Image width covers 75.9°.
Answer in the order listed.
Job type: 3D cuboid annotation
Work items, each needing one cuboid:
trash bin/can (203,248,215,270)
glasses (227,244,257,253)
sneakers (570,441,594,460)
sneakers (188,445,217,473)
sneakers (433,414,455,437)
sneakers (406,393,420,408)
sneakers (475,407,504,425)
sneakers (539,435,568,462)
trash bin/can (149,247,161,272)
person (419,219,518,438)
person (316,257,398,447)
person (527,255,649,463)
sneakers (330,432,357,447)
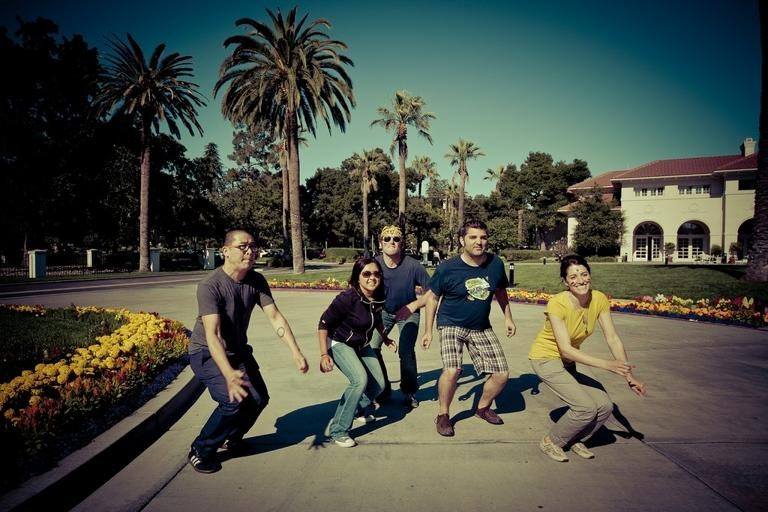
[{"bbox_3d":[-15.300,0.369,42.981,0.639,1.596,1.665,1,-4,-19],"label":"trash bin/can"},{"bbox_3d":[-1.667,-0.083,5.764,0.246,0.088,0.065,-3,7,-15],"label":"glasses"},{"bbox_3d":[2.413,2.370,5.991,0.101,0.132,0.333,-10,-5,-12],"label":"sneakers"},{"bbox_3d":[-2.142,2.383,5.785,0.409,0.174,0.182,-2,-3,43],"label":"sneakers"},{"bbox_3d":[0.802,2.212,6.510,0.251,0.223,0.325,0,7,4],"label":"sneakers"},{"bbox_3d":[0.435,2.133,7.266,0.232,0.175,0.150,-4,7,-24],"label":"sneakers"},{"bbox_3d":[1.454,2.195,6.768,0.165,0.132,0.337,-1,-1,-33],"label":"sneakers"},{"bbox_3d":[2.010,2.335,5.963,0.153,0.149,0.366,-35,46,-28],"label":"sneakers"},{"bbox_3d":[-17.176,0.310,36.933,0.547,1.605,0.969,-3,7,-20],"label":"trash bin/can"},{"bbox_3d":[1.152,0.903,6.771,1.146,2.753,1.358,2,7,20],"label":"person"},{"bbox_3d":[-0.395,1.182,6.570,0.689,2.311,1.136,3,8,30],"label":"person"},{"bbox_3d":[2.436,1.198,6.125,1.192,2.396,1.124,3,8,27],"label":"person"},{"bbox_3d":[-0.500,2.314,6.188,0.308,0.121,0.133,-6,-8,36],"label":"sneakers"}]
